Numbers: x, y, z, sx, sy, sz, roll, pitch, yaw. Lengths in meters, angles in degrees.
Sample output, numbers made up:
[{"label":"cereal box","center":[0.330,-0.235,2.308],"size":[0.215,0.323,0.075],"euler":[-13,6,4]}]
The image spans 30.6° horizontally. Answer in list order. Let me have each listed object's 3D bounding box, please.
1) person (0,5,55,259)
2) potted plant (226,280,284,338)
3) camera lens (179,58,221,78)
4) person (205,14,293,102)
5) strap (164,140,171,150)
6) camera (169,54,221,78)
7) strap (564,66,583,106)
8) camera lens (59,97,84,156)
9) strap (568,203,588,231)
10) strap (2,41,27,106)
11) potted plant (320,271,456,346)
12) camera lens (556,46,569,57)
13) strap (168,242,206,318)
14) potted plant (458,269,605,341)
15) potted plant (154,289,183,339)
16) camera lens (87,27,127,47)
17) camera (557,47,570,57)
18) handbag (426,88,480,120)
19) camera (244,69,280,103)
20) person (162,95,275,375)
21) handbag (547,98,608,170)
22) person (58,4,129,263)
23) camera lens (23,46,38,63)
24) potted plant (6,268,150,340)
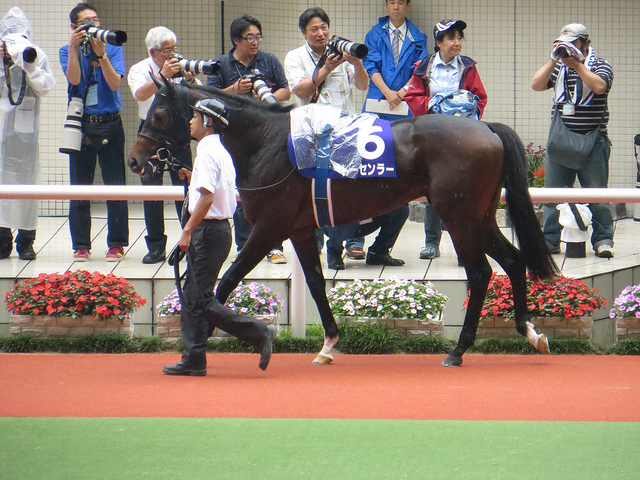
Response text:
[{"label":"person","center":[-2.508,-0.958,10.009],"size":[0.529,1.952,1.421],"euler":[-4,16,-12]},{"label":"potted plant","center":[-0.521,0.527,8.991],"size":[0.395,0.293,0.360],"euler":[14,15,-38]},{"label":"camera lens","center":[-0.921,-1.318,8.943],"size":[0.260,0.077,0.150],"euler":[9,1,31]},{"label":"person","center":[-0.532,-1.367,9.633],"size":[0.666,0.884,0.971],"euler":[0,9,-24]},{"label":"strap","center":[-1.070,-0.673,8.304],"size":[0.016,0.060,0.046],"euler":[24,-7,-34]},{"label":"camera","center":[-0.974,-1.305,9.009],"size":[0.418,0.138,0.263],"euler":[4,16,28]},{"label":"strap","center":[2.177,-1.321,10.102],"size":[0.164,0.337,0.058],"euler":[5,17,18]},{"label":"camera lens","center":[-2.055,-0.938,9.847],"size":[0.268,0.502,0.205],"euler":[-10,18,-29]},{"label":"strap","center":[2.153,-0.191,9.875],"size":[0.062,0.203,0.226],"euler":[-15,-2,-4]},{"label":"strap","center":[-2.613,-1.432,10.057],"size":[0.262,0.544,0.123],"euler":[4,17,16]},{"label":"potted plant","center":[0.512,0.523,8.895],"size":[0.758,0.213,0.582],"euler":[2,17,1]},{"label":"camera lens","center":[1.978,-1.539,9.605],"size":[0.083,0.076,0.078],"euler":[1,46,-24]},{"label":"strap","center":[-0.927,0.224,8.152],"size":[0.249,0.069,0.741],"euler":[-24,35,8]},{"label":"potted plant","center":[1.671,0.496,8.966],"size":[0.781,0.221,0.714],"euler":[0,13,5]},{"label":"potted plant","center":[-1.140,0.580,8.902],"size":[0.306,0.409,0.446],"euler":[0,-2,-4]},{"label":"camera lens","center":[-1.676,-1.648,9.489],"size":[0.145,0.121,0.464],"euler":[-23,24,-38]},{"label":"camera","center":[1.985,-1.537,9.604],"size":[0.068,0.063,0.069],"euler":[9,7,-22]},{"label":"handbag","center":[1.067,-1.081,9.205],"size":[0.421,0.160,0.311],"euler":[7,18,14]},{"label":"camera","center":[-0.410,-1.111,8.830],"size":[0.209,0.184,0.486],"euler":[-19,30,-8]},{"label":"person","center":[-0.755,0.002,8.179],"size":[0.767,1.928,0.793],"euler":[-3,16,-7]},{"label":"handbag","center":[2.257,-0.924,10.229],"size":[0.473,0.636,0.270],"euler":[21,-13,29]},{"label":"person","center":[-1.868,-0.924,9.874],"size":[0.537,2.048,1.211],"euler":[-4,16,-10]},{"label":"camera lens","center":[-2.441,-1.569,9.924],"size":[0.115,0.125,0.122],"euler":[5,14,-12]},{"label":"potted plant","center":[-1.865,0.505,8.861],"size":[0.721,0.284,0.629],"euler":[1,4,6]}]
